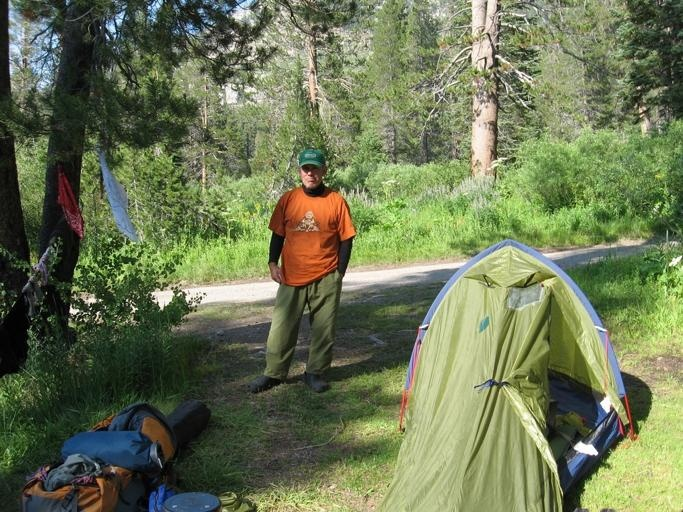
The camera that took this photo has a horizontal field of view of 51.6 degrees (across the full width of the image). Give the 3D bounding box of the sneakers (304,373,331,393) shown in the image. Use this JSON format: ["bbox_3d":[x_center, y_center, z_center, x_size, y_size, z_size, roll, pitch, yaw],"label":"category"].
[{"bbox_3d":[-0.298,1.449,8.216,0.145,0.121,0.288,-15,12,-33],"label":"sneakers"}]

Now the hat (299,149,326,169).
[{"bbox_3d":[-0.339,-1.101,8.001,0.254,0.204,0.272,1,7,12],"label":"hat"}]

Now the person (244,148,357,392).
[{"bbox_3d":[-0.411,0.384,8.159,1.086,2.320,0.382,-1,6,0],"label":"person"}]

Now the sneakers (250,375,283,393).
[{"bbox_3d":[-0.885,1.460,8.177,0.312,0.158,0.170,3,5,-28],"label":"sneakers"}]
